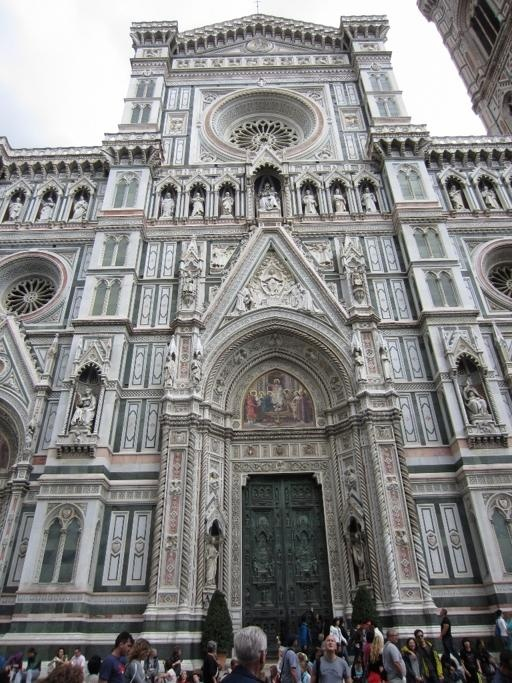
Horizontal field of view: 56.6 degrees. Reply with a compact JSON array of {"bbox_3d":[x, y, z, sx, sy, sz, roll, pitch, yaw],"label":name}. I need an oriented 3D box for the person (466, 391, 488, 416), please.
[{"bbox_3d":[6.115,1.722,13.132,0.557,0.854,0.203,-7,-31,8],"label":"person"}]

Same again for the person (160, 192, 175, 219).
[{"bbox_3d":[-3.424,-5.260,18.370,0.597,1.726,0.320,0,-31,-4],"label":"person"}]

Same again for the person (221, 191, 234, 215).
[{"bbox_3d":[-1.099,-5.368,18.400,0.470,1.577,0.238,-1,-31,-3],"label":"person"}]

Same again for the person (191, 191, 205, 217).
[{"bbox_3d":[-2.229,-5.317,18.353,0.519,1.715,0.301,2,-31,-8],"label":"person"}]

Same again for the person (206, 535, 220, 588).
[{"bbox_3d":[-1.058,5.468,11.744,0.194,1.217,0.626,-11,-32,13],"label":"person"}]

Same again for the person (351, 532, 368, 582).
[{"bbox_3d":[2.534,5.412,11.835,0.186,1.156,0.444,10,-33,-20],"label":"person"}]

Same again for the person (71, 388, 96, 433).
[{"bbox_3d":[-4.762,1.986,13.228,0.664,1.329,0.311,-2,-31,0],"label":"person"}]
